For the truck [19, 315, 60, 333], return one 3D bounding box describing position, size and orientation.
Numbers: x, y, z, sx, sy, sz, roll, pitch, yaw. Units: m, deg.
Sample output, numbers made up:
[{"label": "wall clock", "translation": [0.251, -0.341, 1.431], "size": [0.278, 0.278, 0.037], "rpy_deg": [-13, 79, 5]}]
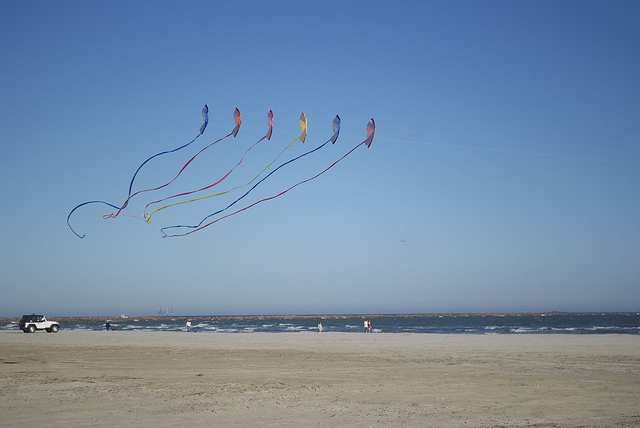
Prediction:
[{"label": "truck", "translation": [-22.621, 8.823, 61.075], "size": [2.743, 1.427, 1.711], "rpy_deg": [3, -4, -23]}]
